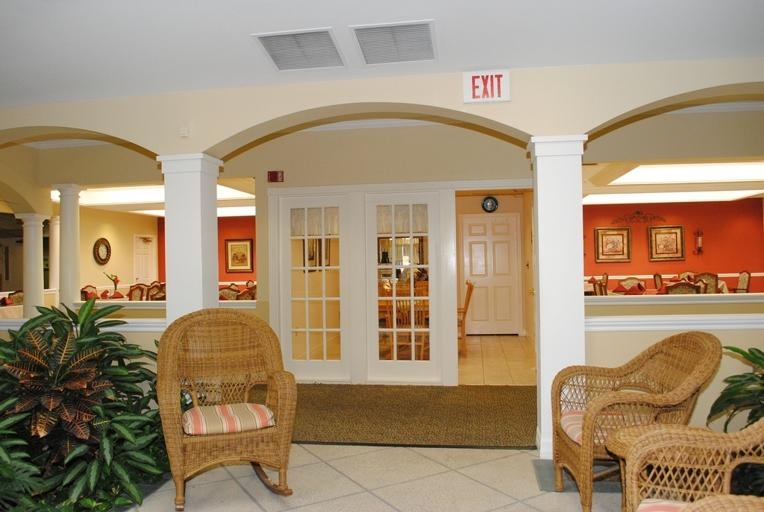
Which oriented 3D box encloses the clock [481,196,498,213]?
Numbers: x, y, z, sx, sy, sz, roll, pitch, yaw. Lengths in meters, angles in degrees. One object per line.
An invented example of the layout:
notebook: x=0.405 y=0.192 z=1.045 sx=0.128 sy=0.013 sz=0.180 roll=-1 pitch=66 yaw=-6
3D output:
clock: x=1.852 y=-0.886 z=9.626 sx=0.308 sy=0.263 sz=0.087 roll=-8 pitch=1 yaw=0

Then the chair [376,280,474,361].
chair: x=0.611 y=0.842 z=7.479 sx=1.188 sy=1.648 sz=1.022 roll=1 pitch=-6 yaw=4

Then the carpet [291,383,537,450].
carpet: x=0.338 y=1.558 z=5.614 sx=2.441 sy=0.123 sz=1.575 roll=0 pitch=9 yaw=9

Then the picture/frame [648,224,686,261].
picture/frame: x=6.012 y=-0.296 z=11.711 sx=0.887 sy=0.852 sz=0.095 roll=0 pitch=-1 yaw=8

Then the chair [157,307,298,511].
chair: x=-1.214 y=1.098 z=4.307 sx=0.940 sy=1.316 sz=0.894 roll=-6 pitch=11 yaw=-21

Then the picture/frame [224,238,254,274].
picture/frame: x=-3.432 y=-0.024 z=13.561 sx=0.996 sy=0.960 sz=0.078 roll=0 pitch=-2 yaw=1

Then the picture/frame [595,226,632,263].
picture/frame: x=4.925 y=-0.246 z=11.792 sx=0.892 sy=0.764 sz=0.064 roll=1 pitch=-1 yaw=5

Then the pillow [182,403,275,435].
pillow: x=-1.142 y=1.198 z=4.186 sx=0.645 sy=0.107 sz=0.366 roll=-4 pitch=9 yaw=-16

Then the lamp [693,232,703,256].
lamp: x=6.645 y=-0.272 z=11.681 sx=0.177 sy=0.498 sz=0.084 roll=-3 pitch=11 yaw=-9

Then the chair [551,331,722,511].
chair: x=1.873 y=1.112 z=4.392 sx=1.441 sy=1.371 sz=1.196 roll=0 pitch=-2 yaw=0

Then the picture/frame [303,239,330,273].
picture/frame: x=-0.777 y=-0.003 z=6.763 sx=0.469 sy=0.459 sz=0.036 roll=2 pitch=6 yaw=7
